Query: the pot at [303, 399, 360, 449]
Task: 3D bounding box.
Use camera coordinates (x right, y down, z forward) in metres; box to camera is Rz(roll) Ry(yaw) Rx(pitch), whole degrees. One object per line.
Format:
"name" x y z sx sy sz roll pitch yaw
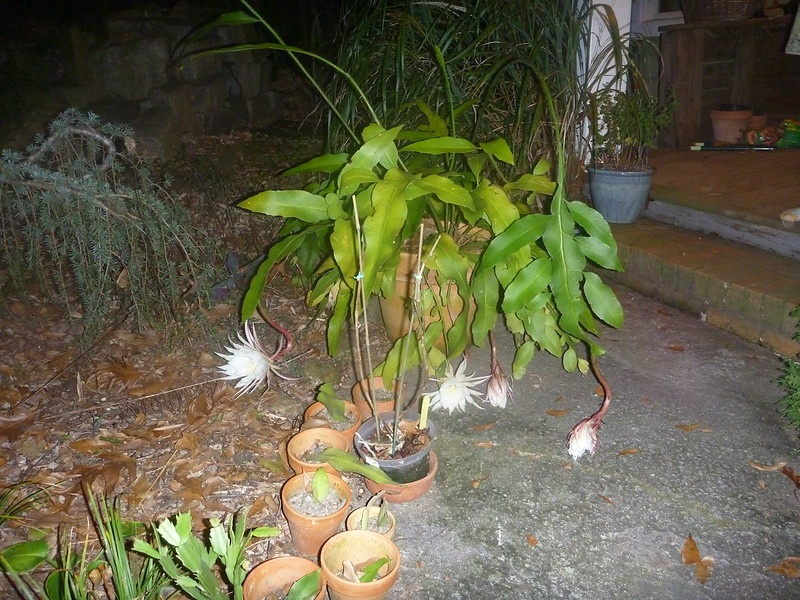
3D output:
"pot" -0.284 0.492 2.434 0.176 0.138 0.192 0 16 0

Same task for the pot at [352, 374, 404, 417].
"pot" -0.113 0.410 2.498 0.171 0.149 0.195 -1 20 6

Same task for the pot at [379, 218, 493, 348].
"pot" 0.128 -0.052 2.792 0.418 0.409 0.428 0 11 0

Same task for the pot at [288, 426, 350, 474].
"pot" -0.313 0.568 2.225 0.175 0.121 0.188 0 18 0

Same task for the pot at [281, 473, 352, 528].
"pot" -0.300 0.698 2.084 0.203 0.141 0.217 2 27 -1

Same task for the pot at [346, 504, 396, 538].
"pot" -0.098 0.766 2.042 0.128 0.057 0.137 3 24 -2

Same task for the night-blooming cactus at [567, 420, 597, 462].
"night-blooming cactus" 0.720 0.548 2.326 0.114 0.167 0.053 21 0 31

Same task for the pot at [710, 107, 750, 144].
"pot" 2.891 -1.519 5.234 0.325 0.281 0.333 0 7 0

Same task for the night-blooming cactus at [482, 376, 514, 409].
"night-blooming cactus" 0.406 0.381 2.509 0.111 0.169 0.076 -7 2 8

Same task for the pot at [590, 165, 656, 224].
"pot" 1.453 -0.643 3.829 0.393 0.340 0.418 0 10 0
